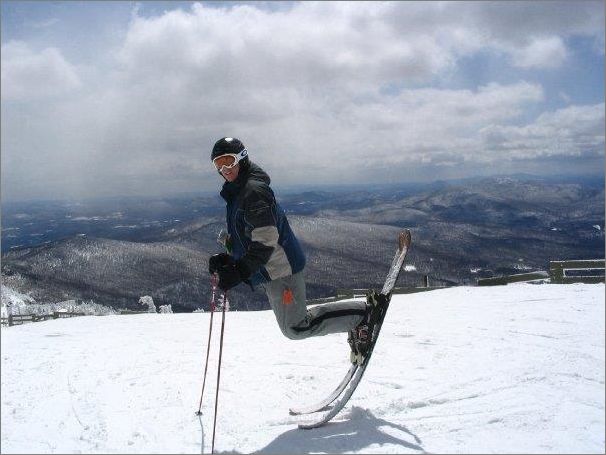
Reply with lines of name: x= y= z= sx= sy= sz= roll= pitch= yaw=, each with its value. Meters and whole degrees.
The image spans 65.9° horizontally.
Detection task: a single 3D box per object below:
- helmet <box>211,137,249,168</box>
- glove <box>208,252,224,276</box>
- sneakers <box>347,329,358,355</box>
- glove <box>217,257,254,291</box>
helmet: x=-0.927 y=-0.955 z=5.880 sx=0.425 sy=0.371 sz=0.334 roll=-3 pitch=5 yaw=-9
glove: x=-1.076 y=0.472 z=5.950 sx=0.187 sy=0.251 sz=0.107 roll=-4 pitch=-24 yaw=34
sneakers: x=0.702 y=1.563 z=6.345 sx=0.114 sy=0.371 sz=0.148 roll=3 pitch=12 yaw=24
glove: x=-0.830 y=0.577 z=5.752 sx=0.418 sy=0.369 sz=0.346 roll=2 pitch=-11 yaw=-14
